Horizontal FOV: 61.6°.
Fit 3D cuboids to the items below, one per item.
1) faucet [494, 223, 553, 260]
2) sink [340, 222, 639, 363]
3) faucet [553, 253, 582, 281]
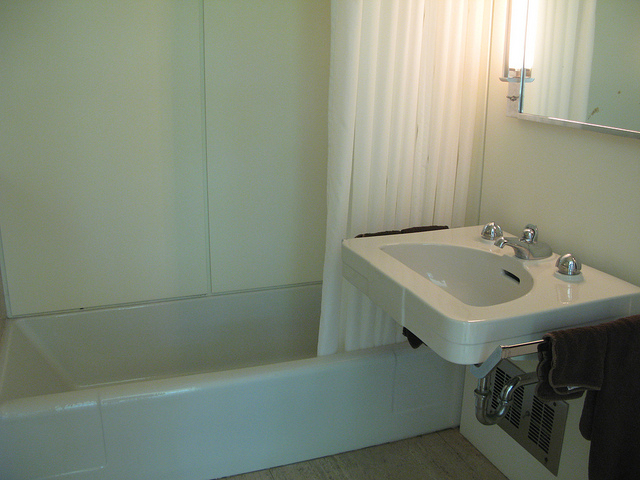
[{"bbox_3d":[0.731,-0.002,1.938,0.144,0.126,0.164,-7,20,-26],"label":"faucet"},{"bbox_3d":[0.546,0.134,1.864,0.702,0.224,0.748,-7,20,-24],"label":"sink"},{"bbox_3d":[0.817,0.094,1.760,0.081,0.075,0.083,7,20,32],"label":"faucet"}]
